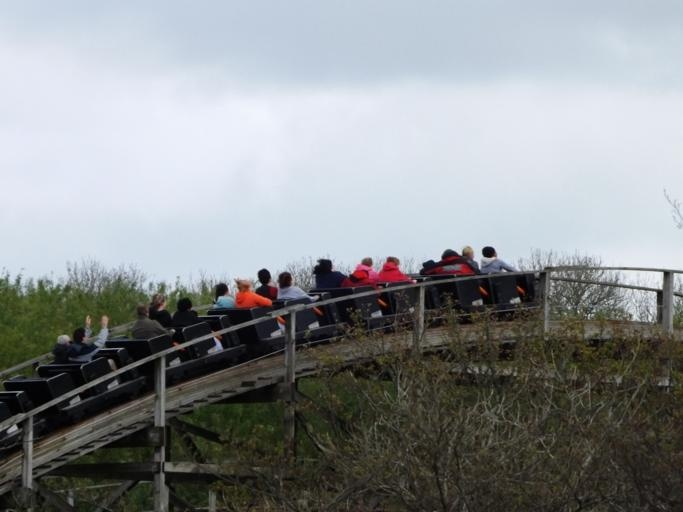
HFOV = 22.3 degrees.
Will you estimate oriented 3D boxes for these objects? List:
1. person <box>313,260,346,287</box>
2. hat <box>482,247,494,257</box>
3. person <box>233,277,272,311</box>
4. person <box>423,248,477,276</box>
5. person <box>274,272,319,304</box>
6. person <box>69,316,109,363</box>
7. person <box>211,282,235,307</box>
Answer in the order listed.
[{"bbox_3d":[-0.236,0.357,31.747,0.353,0.846,0.363,-9,3,22],"label":"person"},{"bbox_3d":[2.646,-0.063,31.265,0.171,0.242,0.219,0,-6,19],"label":"hat"},{"bbox_3d":[-1.615,0.696,31.904,0.663,0.537,0.778,0,-2,-3],"label":"person"},{"bbox_3d":[2.148,0.202,34.080,0.937,0.487,1.151,1,-2,3],"label":"person"},{"bbox_3d":[-0.850,0.580,32.618,0.702,0.589,1.094,0,-2,-2],"label":"person"},{"bbox_3d":[-4.427,1.473,30.708,0.506,0.784,0.770,-1,-2,23],"label":"person"},{"bbox_3d":[-2.202,0.750,32.597,0.399,0.477,1.211,0,-2,-4],"label":"person"}]
